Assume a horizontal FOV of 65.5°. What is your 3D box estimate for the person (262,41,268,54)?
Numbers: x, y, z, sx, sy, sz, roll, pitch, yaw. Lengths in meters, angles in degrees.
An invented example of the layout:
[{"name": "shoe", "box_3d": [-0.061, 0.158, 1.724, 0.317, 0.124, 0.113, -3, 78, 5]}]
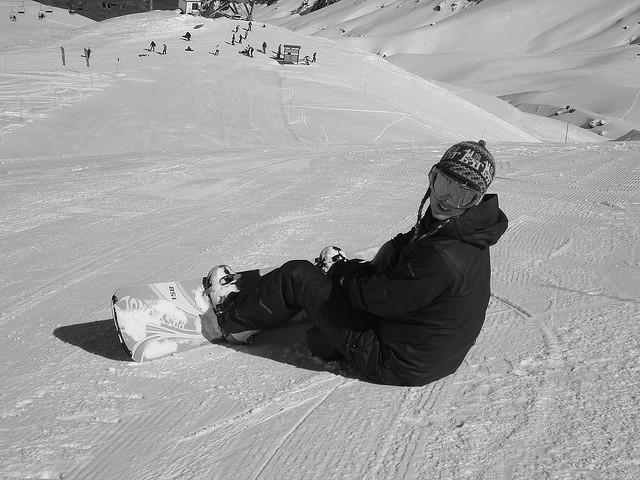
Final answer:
[{"name": "person", "box_3d": [-3.018, -10.337, 26.982, 0.386, 0.221, 0.925, 1, -7, -3]}]
